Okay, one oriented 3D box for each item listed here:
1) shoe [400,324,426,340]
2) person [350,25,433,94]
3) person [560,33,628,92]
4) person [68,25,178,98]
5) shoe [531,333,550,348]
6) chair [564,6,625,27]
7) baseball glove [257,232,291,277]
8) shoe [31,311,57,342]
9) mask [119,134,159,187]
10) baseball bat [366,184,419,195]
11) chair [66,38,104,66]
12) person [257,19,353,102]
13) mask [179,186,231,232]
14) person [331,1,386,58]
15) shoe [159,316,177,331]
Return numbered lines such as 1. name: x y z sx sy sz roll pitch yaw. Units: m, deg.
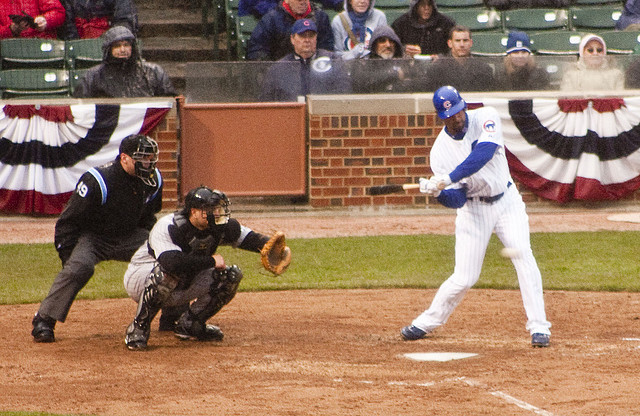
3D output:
1. shoe: 1.247 1.673 19.525 0.373 0.155 0.186 7 26 19
2. person: 1.171 -2.501 24.891 1.174 0.789 1.229 -1 4 -11
3. person: 4.731 -2.517 24.874 1.136 0.964 0.530 0 6 10
4. person: -3.365 -2.451 24.559 1.689 1.193 0.765 -1 3 4
5. shoe: 2.937 1.765 19.185 0.221 0.196 0.081 -1 6 -3
6. chair: 5.137 -3.609 27.146 1.084 0.343 0.226 -3 6 -18
7. baseball glove: -0.620 0.625 19.369 0.359 0.657 0.316 3 0 41
8. shoe: -3.732 1.612 19.563 0.286 0.370 0.841 -4 5 -10
9. mask: -2.473 -0.672 19.571 0.541 0.683 0.435 11 10 21
10. baseball bat: 1.007 -0.281 20.715 0.762 0.117 0.182 -7 -5 10
11. chair: -4.201 -2.853 25.829 0.603 0.626 0.825 1 -8 -19
12. person: -0.255 -2.535 24.653 1.590 1.396 0.451 -1 6 -3
13. mask: -1.502 -0.002 19.127 0.569 0.538 0.486 -6 5 13
14. person: 0.629 -3.209 25.460 0.744 1.105 0.354 3 10 7
15. shoe: -2.097 1.591 19.929 0.225 0.237 0.146 4 -1 2
